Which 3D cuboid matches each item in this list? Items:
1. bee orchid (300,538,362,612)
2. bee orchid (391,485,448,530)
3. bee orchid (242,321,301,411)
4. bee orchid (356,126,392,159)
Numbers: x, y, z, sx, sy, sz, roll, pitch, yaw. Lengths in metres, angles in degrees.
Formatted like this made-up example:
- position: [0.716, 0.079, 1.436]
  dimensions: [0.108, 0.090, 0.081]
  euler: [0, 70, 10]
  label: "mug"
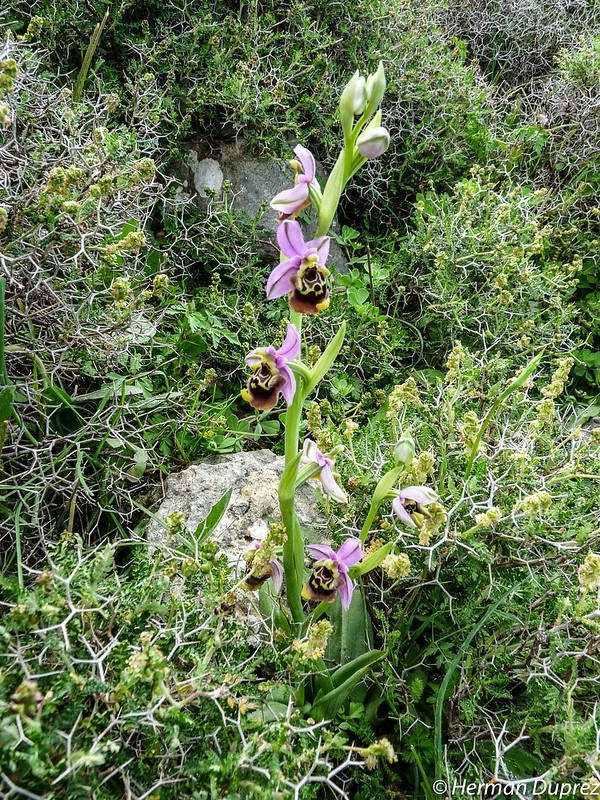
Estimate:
- position: [0.078, 0.417, 1.714]
  dimensions: [0.148, 0.175, 0.141]
  euler: [13, 60, -6]
  label: "bee orchid"
- position: [0.289, 0.240, 1.701]
  dimensions: [0.120, 0.101, 0.082]
  euler: [17, 100, 14]
  label: "bee orchid"
- position: [-0.058, -0.072, 1.619]
  dimensions: [0.111, 0.169, 0.144]
  euler: [1, 62, -13]
  label: "bee orchid"
- position: [0.164, -0.563, 1.536]
  dimensions: [0.033, 0.088, 0.050]
  euler: [-20, 98, -12]
  label: "bee orchid"
